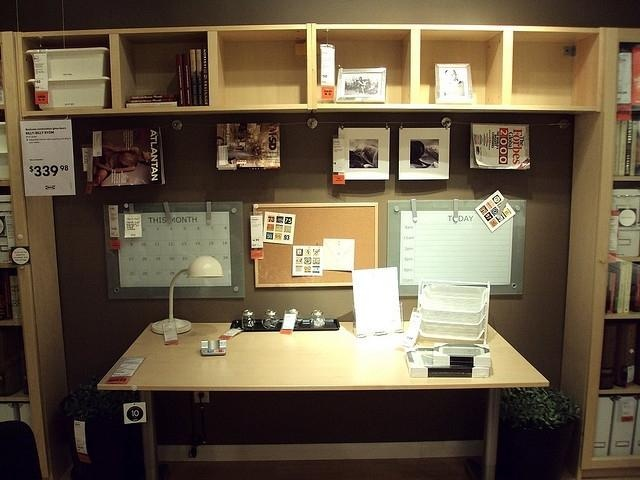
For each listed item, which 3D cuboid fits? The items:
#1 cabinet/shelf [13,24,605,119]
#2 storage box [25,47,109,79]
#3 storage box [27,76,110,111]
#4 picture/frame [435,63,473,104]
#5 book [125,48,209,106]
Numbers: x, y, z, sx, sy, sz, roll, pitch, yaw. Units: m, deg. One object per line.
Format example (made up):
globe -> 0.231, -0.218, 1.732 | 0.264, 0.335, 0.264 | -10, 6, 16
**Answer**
cabinet/shelf -> -0.031, -0.975, 3.313 | 3.367, 0.549, 0.443 | -1, 4, -4
storage box -> -1.434, -1.025, 3.157 | 0.321, 0.123, 0.230 | -3, 9, -11
storage box -> -1.417, -0.858, 3.182 | 0.290, 0.108, 0.246 | -1, 17, -8
picture/frame -> 0.795, -0.931, 3.240 | 0.245, 0.273, 0.024 | 0, -3, -2
book -> -0.888, -0.983, 3.256 | 0.472, 0.376, 0.271 | -2, 7, -5
